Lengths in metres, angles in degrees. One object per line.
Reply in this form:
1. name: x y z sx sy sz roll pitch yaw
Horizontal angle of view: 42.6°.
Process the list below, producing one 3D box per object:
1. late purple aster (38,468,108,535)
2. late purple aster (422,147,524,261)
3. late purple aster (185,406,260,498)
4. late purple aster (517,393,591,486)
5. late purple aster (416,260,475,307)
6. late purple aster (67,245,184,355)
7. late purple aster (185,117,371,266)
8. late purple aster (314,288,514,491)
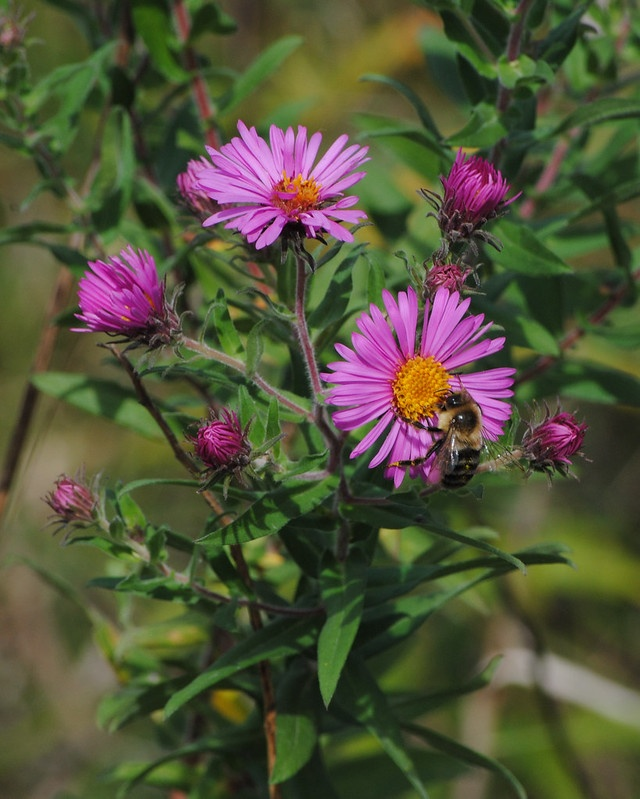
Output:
1. late purple aster: -0.201 0.091 0.703 0.058 0.051 0.048 1 100 -24
2. late purple aster: 0.131 -0.169 0.716 0.096 0.081 0.082 13 39 18
3. late purple aster: -0.073 0.046 0.665 0.063 0.063 0.048 -7 40 27
4. late purple aster: 0.201 0.042 0.724 0.049 0.118 0.069 11 77 12
5. late purple aster: 0.101 -0.094 0.669 0.036 0.027 0.030 17 76 12
6. late purple aster: -0.141 -0.083 0.677 0.097 0.042 0.081 -15 104 20
7. late purple aster: -0.005 -0.160 0.666 0.123 0.053 0.118 41 49 -13
8. late purple aster: 0.089 -0.003 0.703 0.153 0.188 0.149 -23 72 2
